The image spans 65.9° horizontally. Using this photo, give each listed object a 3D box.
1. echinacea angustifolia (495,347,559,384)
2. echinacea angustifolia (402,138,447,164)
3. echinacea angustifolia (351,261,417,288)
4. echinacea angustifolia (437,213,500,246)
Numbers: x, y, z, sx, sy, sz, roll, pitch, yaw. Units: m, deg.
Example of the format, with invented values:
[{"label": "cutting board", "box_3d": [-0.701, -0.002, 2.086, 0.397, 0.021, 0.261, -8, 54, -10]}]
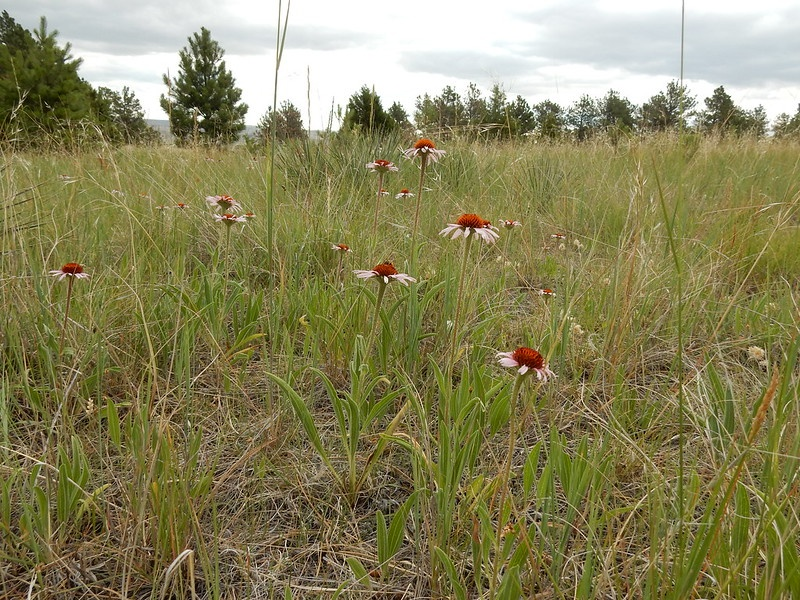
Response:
[{"label": "echinacea angustifolia", "box_3d": [0.454, 0.231, 2.260, 0.190, 0.114, 0.186, 5, 19, 10]}, {"label": "echinacea angustifolia", "box_3d": [0.115, -0.765, 3.235, 0.174, 0.149, 0.356, 0, 19, -2]}, {"label": "echinacea angustifolia", "box_3d": [-0.063, -0.108, 2.700, 0.149, 0.074, 0.172, 8, 5, -14]}, {"label": "echinacea angustifolia", "box_3d": [0.304, -0.306, 2.661, 0.219, 0.157, 0.361, 5, 20, 12]}]
